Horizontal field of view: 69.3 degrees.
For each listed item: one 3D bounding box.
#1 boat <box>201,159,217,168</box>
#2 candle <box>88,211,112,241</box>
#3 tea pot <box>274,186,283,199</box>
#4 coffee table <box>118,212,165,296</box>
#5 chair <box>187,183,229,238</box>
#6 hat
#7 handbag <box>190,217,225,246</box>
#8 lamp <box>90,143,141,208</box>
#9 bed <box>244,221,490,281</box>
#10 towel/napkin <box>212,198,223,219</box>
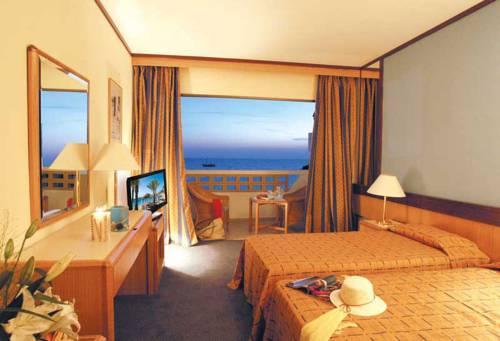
[{"bbox_3d":[-1.395,-0.240,12.272,0.662,0.375,0.214,-1,6,-1],"label":"boat"},{"bbox_3d":[-1.369,0.504,3.383,0.217,0.287,0.215,-3,2,-18],"label":"candle"},{"bbox_3d":[0.551,0.410,6.761,0.188,0.316,0.196,0,3,0],"label":"tea pot"},{"bbox_3d":[-1.238,1.074,4.778,0.655,0.983,1.179,0,5,-4],"label":"coffee table"},{"bbox_3d":[-0.750,0.713,6.546,0.860,1.186,0.941,-2,-1,2],"label":"chair"},{"bbox_3d":[0.940,1.102,3.179,0.348,0.159,0.343,-19,17,-41],"label":"hat"},{"bbox_3d":[-0.690,1.035,6.340,0.503,0.304,0.438,0,10,-11],"label":"handbag"},{"bbox_3d":[-1.562,0.101,4.222,0.518,0.885,0.487,-3,15,-23],"label":"lamp"},{"bbox_3d":[1.242,0.930,4.104,1.702,0.524,1.144,-2,4,-10],"label":"bed"},{"bbox_3d":[-0.585,0.682,6.553,0.158,0.348,0.133,-4,12,-26],"label":"towel/napkin"}]
